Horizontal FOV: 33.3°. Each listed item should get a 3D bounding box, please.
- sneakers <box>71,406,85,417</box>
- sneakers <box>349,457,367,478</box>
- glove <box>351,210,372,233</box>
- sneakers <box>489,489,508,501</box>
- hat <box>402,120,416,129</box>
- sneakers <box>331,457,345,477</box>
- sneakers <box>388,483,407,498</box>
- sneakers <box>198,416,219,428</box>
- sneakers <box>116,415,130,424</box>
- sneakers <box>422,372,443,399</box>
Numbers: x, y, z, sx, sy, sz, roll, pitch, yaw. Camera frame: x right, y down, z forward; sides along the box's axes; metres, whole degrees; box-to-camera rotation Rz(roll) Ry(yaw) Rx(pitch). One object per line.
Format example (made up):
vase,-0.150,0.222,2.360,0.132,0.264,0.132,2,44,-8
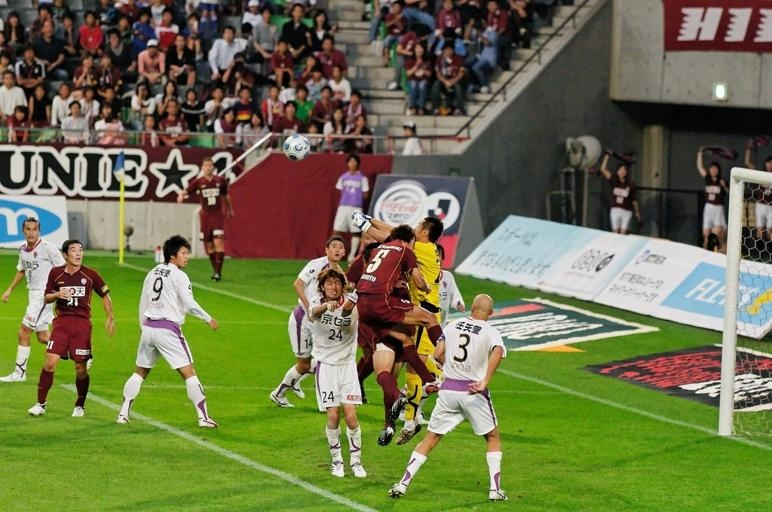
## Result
sneakers,-5.308,2.652,22.159,0.157,0.140,0.303,0,-6,-6
sneakers,-0.451,3.351,20.598,0.249,0.301,0.199,2,3,-3
glove,-0.441,-0.622,22.618,0.318,0.403,0.173,-43,-14,36
sneakers,1.764,3.694,20.095,0.344,0.173,0.121,-1,4,-37
hat,0.640,-3.434,33.897,0.383,0.204,0.236,15,-4,-20
sneakers,-0.784,3.366,20.662,0.209,0.256,0.265,2,3,-2
sneakers,0.151,3.597,19.912,0.221,0.106,0.230,7,22,25
sneakers,-3.066,2.820,22.012,0.403,0.139,0.180,18,-6,-14
sneakers,-4.510,2.755,21.974,0.211,0.165,0.153,1,3,-6
sneakers,0.733,2.100,20.929,0.195,0.260,0.596,-1,14,14
